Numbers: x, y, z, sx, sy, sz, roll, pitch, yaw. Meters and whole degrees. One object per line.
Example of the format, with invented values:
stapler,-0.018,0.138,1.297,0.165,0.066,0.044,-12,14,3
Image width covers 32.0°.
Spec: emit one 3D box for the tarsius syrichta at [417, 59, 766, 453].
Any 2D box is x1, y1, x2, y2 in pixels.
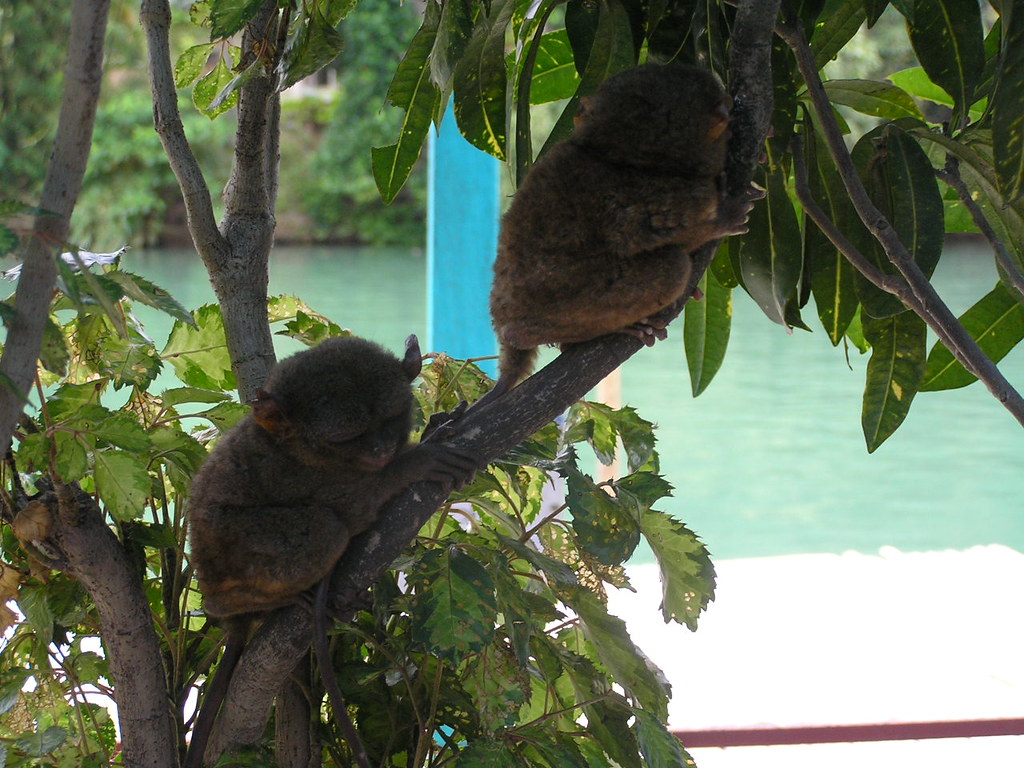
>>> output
tarsius syrichta,0.375,-0.479,5.893,0.628,1.438,0.719,39,1,-32
